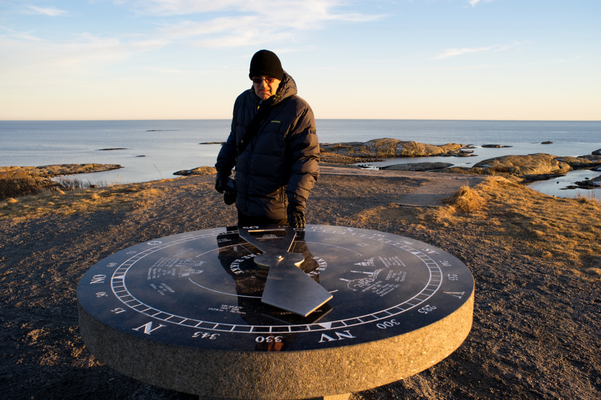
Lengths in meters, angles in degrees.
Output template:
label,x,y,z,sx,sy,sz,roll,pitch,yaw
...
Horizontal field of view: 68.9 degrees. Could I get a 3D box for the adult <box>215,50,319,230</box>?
label,x,y,z,sx,sy,sz,roll,pitch,yaw
adult,-0.349,-0.605,4.922,1.022,2.023,1.400,-6,21,-19

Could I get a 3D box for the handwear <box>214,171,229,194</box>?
label,x,y,z,sx,sy,sz,roll,pitch,yaw
handwear,-0.988,-0.222,5.430,0.227,0.229,0.106,7,-7,37

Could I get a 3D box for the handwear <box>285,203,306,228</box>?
label,x,y,z,sx,sy,sz,roll,pitch,yaw
handwear,-0.052,0.175,4.670,0.258,0.109,0.246,0,41,-11

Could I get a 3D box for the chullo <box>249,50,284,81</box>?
label,x,y,z,sx,sy,sz,roll,pitch,yaw
chullo,-0.340,-1.431,4.691,0.206,0.296,0.377,14,21,31

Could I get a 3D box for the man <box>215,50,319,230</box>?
label,x,y,z,sx,sy,sz,roll,pitch,yaw
man,-0.348,-0.604,4.919,1.021,2.023,1.407,-6,21,-19
